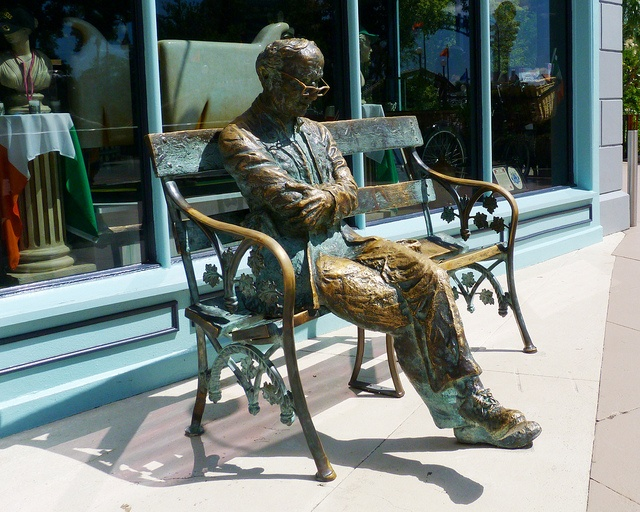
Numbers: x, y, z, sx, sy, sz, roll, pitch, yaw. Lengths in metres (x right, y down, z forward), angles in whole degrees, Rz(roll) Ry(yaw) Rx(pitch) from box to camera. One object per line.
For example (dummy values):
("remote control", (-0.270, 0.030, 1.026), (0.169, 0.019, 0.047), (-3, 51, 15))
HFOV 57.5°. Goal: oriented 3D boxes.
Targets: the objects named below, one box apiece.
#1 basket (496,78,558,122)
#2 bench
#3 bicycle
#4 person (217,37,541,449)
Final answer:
("basket", (2.192, -1.674, 6.030), (0.475, 0.344, 0.680), (4, 17, 36))
("bench", (0.304, 0.061, 3.228), (0.872, 1.573, 2.232), (3, 12, 40))
("bicycle", (1.393, -1.073, 5.874), (1.363, 0.910, 0.639), (-10, 12, -30))
("person", (0.159, -0.041, 2.471), (1.273, 1.769, 0.710), (10, 17, 43))
